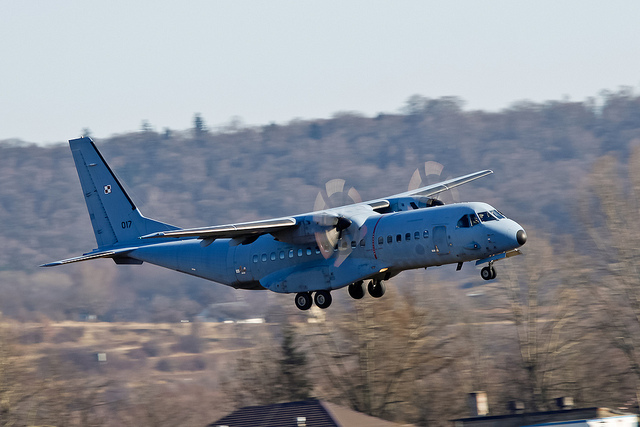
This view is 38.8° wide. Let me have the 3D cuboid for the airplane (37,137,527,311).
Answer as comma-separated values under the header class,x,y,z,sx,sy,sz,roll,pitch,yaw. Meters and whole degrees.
class,x,y,z,sx,sy,sz,roll,pitch,yaw
airplane,-1.518,1.234,39.269,15.960,3.508,13.402,-1,6,27
